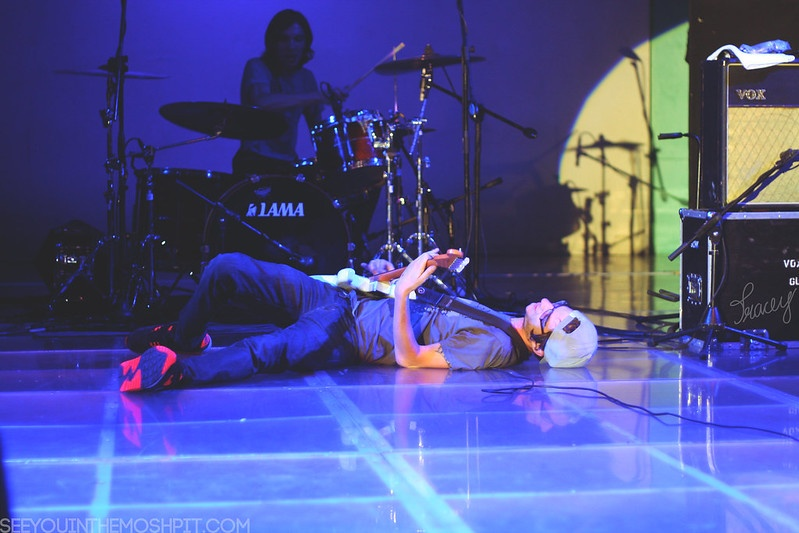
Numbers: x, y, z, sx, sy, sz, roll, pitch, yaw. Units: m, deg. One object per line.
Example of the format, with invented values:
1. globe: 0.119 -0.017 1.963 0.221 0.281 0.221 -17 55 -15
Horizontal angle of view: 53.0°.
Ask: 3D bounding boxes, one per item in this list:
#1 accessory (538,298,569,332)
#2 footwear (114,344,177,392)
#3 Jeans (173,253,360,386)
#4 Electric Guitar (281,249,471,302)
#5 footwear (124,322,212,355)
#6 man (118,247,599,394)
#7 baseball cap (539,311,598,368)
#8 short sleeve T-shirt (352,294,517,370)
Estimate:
1. accessory: 0.876 0.287 4.596 0.115 0.125 0.282 4 2 27
2. footwear: -1.290 0.531 4.156 0.357 0.162 0.156 -9 -18 26
3. Jeans: -0.696 0.290 4.480 1.007 0.356 0.625 -2 49 -31
4. Electric Guitar: -0.051 0.034 4.552 0.359 0.104 0.854 26 -25 -36
5. footwear: -1.379 0.423 4.653 0.522 0.193 0.188 7 7 6
6. man: -0.236 0.319 4.815 2.768 0.934 0.975 1 11 -8
7. baseball cap: 0.891 0.420 4.658 0.265 0.282 0.343 -2 6 -36
8. short sleeve T-shirt: 0.161 0.378 4.574 0.590 0.198 0.558 12 7 22
